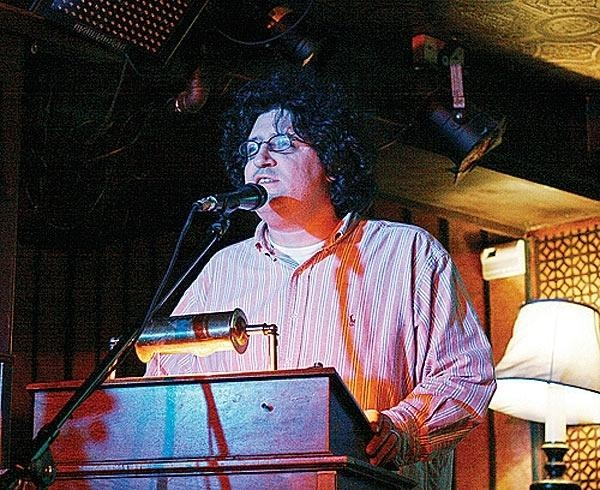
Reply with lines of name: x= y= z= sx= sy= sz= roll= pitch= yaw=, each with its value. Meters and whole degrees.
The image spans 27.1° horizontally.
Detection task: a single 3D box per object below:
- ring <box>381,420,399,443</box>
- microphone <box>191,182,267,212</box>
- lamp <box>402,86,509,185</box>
ring: x=0.282 y=0.594 z=3.966 sx=0.023 sy=0.060 sz=0.062 roll=-36 pitch=4 yaw=24
microphone: x=-0.223 y=-0.164 z=4.149 sx=0.091 sy=0.089 sz=0.319 roll=-2 pitch=3 yaw=40
lamp: x=0.661 y=-0.491 z=5.488 sx=0.377 sy=0.283 sz=0.379 roll=39 pitch=45 yaw=21
